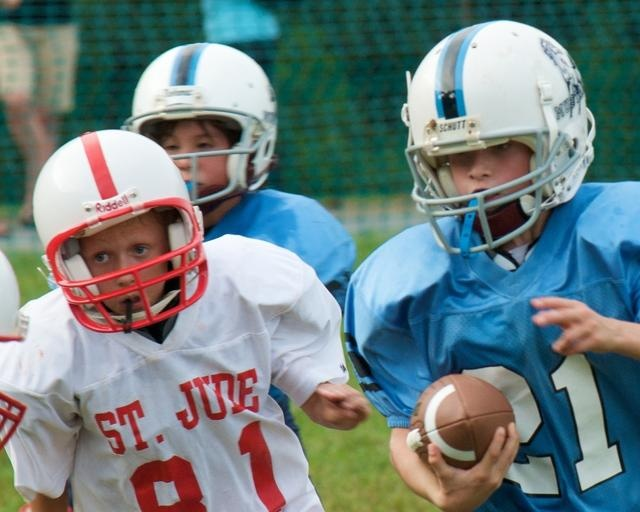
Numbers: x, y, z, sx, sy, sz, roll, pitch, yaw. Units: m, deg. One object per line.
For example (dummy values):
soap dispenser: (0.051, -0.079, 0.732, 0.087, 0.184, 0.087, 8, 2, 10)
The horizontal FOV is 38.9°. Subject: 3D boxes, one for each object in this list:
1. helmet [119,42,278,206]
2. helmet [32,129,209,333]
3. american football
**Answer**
helmet: (-0.428, -0.502, 3.359, 0.486, 0.475, 0.631, -3, 3, 12)
helmet: (-0.524, -0.135, 2.564, 0.443, 0.471, 0.570, -19, 21, -3)
american football: (0.372, 0.431, 2.410, 0.278, 0.222, 0.215, 14, 17, -30)
